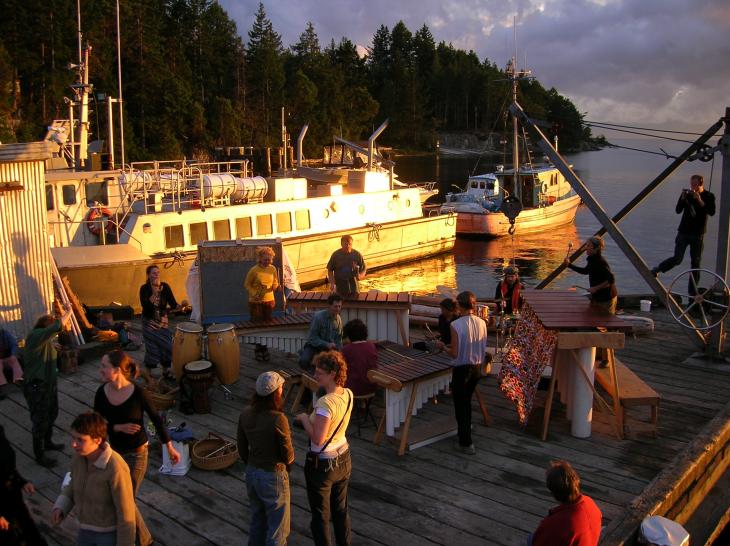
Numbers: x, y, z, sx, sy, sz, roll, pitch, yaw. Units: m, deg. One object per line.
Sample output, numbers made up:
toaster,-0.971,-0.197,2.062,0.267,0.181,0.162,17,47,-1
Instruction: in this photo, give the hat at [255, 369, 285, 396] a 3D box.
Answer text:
hat,-1.002,1.167,7.772,0.200,0.166,0.315,10,43,13

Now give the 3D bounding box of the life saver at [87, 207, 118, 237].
life saver,-7.115,-1.425,19.626,0.792,0.837,0.426,-9,12,-27

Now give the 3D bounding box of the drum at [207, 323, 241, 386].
drum,-2.338,1.376,12.041,0.481,1.011,0.398,-6,11,-19

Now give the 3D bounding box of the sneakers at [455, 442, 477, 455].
sneakers,1.410,2.491,10.181,0.230,0.105,0.126,4,4,30

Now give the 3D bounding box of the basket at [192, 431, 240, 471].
basket,-2.032,2.466,9.861,0.575,0.226,0.497,-10,37,-34

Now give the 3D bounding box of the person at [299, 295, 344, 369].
person,-0.630,0.921,11.046,0.739,1.217,0.617,5,11,-33

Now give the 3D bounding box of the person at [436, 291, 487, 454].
person,1.421,1.380,10.105,0.484,2.210,0.676,-1,10,8

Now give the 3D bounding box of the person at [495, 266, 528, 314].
person,2.555,0.364,12.940,0.428,1.079,0.317,3,24,11

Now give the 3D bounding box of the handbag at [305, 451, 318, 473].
handbag,-0.580,2.017,7.726,0.176,0.205,0.072,6,14,41

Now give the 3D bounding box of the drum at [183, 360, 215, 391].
drum,-2.527,1.568,11.036,0.371,0.303,0.371,1,3,-38

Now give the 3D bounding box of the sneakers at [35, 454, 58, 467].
sneakers,-4.282,2.547,9.745,0.269,0.214,0.098,2,19,0

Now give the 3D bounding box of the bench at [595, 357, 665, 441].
bench,3.887,1.783,10.878,0.869,0.999,1.289,1,12,18

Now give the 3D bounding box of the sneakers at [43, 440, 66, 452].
sneakers,-4.293,2.436,10.059,0.285,0.203,0.099,-7,21,-23

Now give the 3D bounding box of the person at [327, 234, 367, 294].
person,-0.353,0.237,14.129,0.706,2.015,0.560,-1,32,-2

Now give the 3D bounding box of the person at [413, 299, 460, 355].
person,1.102,0.880,11.261,0.773,0.977,0.529,2,8,-24

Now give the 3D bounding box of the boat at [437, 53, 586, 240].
boat,9.046,-7.611,42.723,4.223,11.084,12.106,8,17,40

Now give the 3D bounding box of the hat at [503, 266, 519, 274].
hat,2.565,-0.045,12.898,0.231,0.162,0.504,-2,12,8
